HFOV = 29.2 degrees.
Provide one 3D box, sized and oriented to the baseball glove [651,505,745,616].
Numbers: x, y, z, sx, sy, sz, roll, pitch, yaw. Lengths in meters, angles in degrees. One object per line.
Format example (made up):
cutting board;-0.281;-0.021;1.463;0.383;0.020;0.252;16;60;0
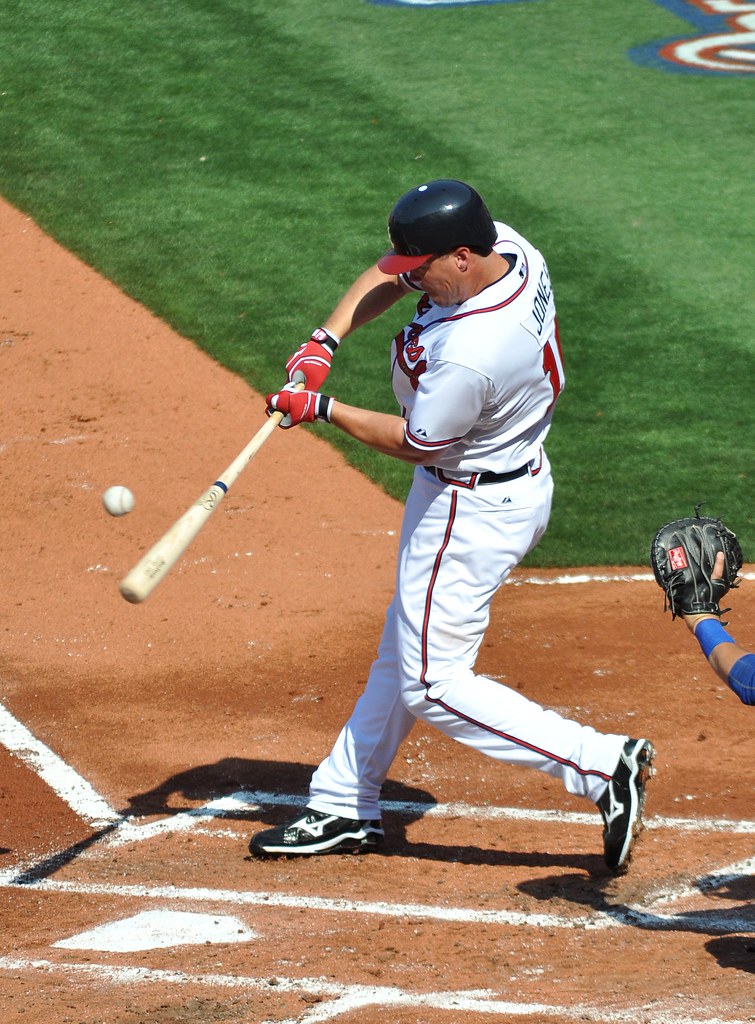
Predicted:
baseball glove;0.839;0.135;3.758;0.249;0.239;0.136;0;-17;-3

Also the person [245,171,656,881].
person;0.161;0.104;4.085;0.877;2.021;1.476;-10;30;-24

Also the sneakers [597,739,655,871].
sneakers;0.670;0.791;3.953;0.198;0.350;0.130;8;24;10

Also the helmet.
helmet;0.147;-0.762;3.752;0.320;0.169;0.200;-20;41;3

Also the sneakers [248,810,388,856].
sneakers;-0.181;0.995;4.462;0.433;0.159;0.140;3;-7;-11

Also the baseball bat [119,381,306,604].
baseball bat;-0.724;-0.050;6.433;0.182;0.167;1.733;20;45;26
